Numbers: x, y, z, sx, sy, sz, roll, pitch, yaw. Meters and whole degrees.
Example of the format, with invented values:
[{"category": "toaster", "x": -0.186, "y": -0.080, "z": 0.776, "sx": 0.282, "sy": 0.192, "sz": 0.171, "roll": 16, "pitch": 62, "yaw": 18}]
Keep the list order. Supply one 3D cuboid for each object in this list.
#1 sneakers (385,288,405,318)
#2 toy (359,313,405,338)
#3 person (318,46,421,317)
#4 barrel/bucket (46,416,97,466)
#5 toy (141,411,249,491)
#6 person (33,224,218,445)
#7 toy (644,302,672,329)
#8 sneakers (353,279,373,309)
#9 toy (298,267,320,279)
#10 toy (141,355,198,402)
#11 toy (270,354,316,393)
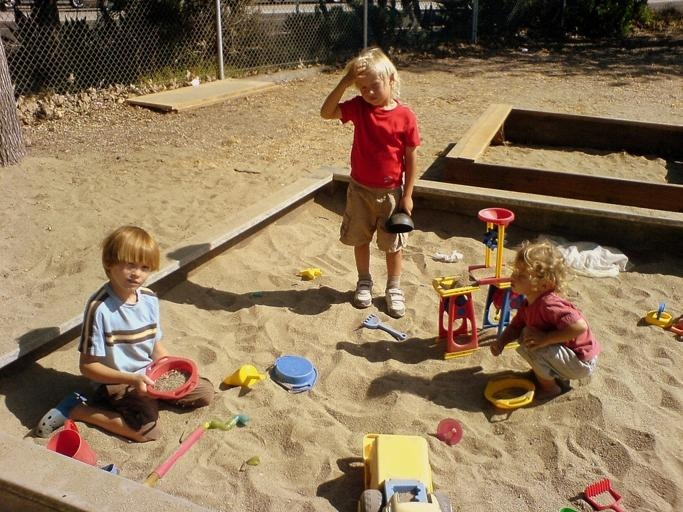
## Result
[{"category": "sneakers", "x": 0.384, "y": 0.338, "z": 4.597, "sx": 0.102, "sy": 0.094, "sz": 0.247, "roll": -1, "pitch": 24, "yaw": -5}, {"category": "toy", "x": 0.286, "y": 0.495, "z": 4.429, "sx": 0.295, "sy": 0.040, "sz": 0.131, "roll": 26, "pitch": 39, "yaw": 25}, {"category": "person", "x": 0.303, "y": -0.517, "z": 4.502, "sx": 0.565, "sy": 1.765, "sz": 0.799, "roll": -18, "pitch": 33, "yaw": -27}, {"category": "barrel/bucket", "x": -1.466, "y": 1.019, "z": 3.536, "sx": 0.206, "sy": 0.284, "sz": 0.217, "roll": -8, "pitch": -20, "yaw": -3}, {"category": "toy", "x": -0.805, "y": 1.038, "z": 3.601, "sx": 0.197, "sy": 0.075, "sz": 0.718, "roll": 21, "pitch": 28, "yaw": 28}, {"category": "person", "x": -1.349, "y": 0.534, "z": 4.018, "sx": 0.827, "sy": 1.107, "sz": 1.028, "roll": 17, "pitch": 22, "yaw": 23}, {"category": "toy", "x": 2.190, "y": 0.411, "z": 4.444, "sx": 0.225, "sy": 0.145, "sz": 0.126, "roll": -2, "pitch": 26, "yaw": 5}, {"category": "sneakers", "x": 0.145, "y": 0.283, "z": 4.642, "sx": 0.097, "sy": 0.096, "sz": 0.255, "roll": 2, "pitch": 19, "yaw": 3}, {"category": "toy", "x": -0.247, "y": 0.134, "z": 5.027, "sx": 0.100, "sy": 0.035, "sz": 0.107, "roll": 14, "pitch": 24, "yaw": 33}, {"category": "toy", "x": -1.031, "y": 0.744, "z": 3.879, "sx": 0.262, "sy": 0.080, "sz": 0.316, "roll": -23, "pitch": 42, "yaw": -26}, {"category": "toy", "x": -0.305, "y": 0.733, "z": 4.031, "sx": 0.302, "sy": 0.118, "sz": 0.258, "roll": 0, "pitch": 26, "yaw": 1}]
